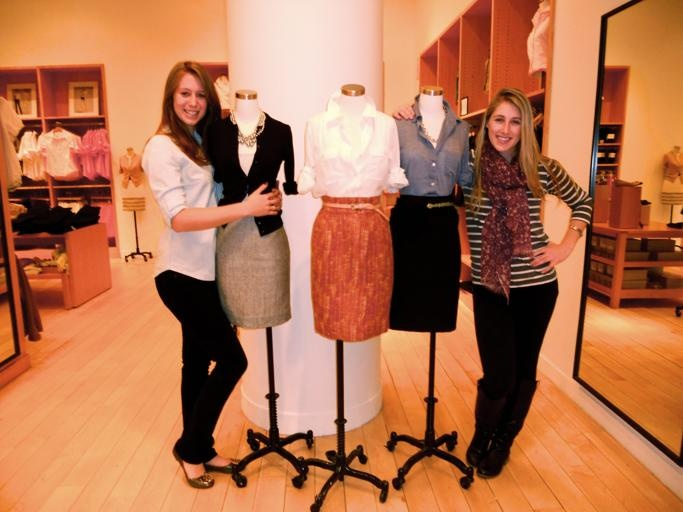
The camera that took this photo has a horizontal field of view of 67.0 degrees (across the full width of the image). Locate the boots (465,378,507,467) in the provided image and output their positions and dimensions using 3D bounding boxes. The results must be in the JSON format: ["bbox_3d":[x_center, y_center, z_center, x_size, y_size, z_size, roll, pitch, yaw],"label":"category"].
[{"bbox_3d":[0.871,1.027,3.184,0.150,0.455,0.358,5,11,36],"label":"boots"}]

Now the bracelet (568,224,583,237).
[{"bbox_3d":[1.395,-0.153,3.054,0.055,0.075,0.030,8,11,4],"label":"bracelet"}]

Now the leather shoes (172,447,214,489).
[{"bbox_3d":[-0.881,1.261,3.073,0.311,0.142,0.108,31,25,27],"label":"leather shoes"}]

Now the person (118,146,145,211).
[{"bbox_3d":[-3.286,-1.215,8.021,0.345,0.921,0.312,-3,20,-20],"label":"person"}]

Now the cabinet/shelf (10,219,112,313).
[{"bbox_3d":[-3.358,0.194,6.197,0.977,0.856,0.993,-1,12,3],"label":"cabinet/shelf"}]

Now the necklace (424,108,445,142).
[{"bbox_3d":[0.527,-0.751,2.912,0.115,0.189,0.042,-1,-2,-3],"label":"necklace"}]

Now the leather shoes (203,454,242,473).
[{"bbox_3d":[-0.734,1.271,3.138,0.186,0.076,0.111,0,2,3],"label":"leather shoes"}]

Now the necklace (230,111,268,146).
[{"bbox_3d":[-0.499,-0.676,2.771,0.140,0.189,0.091,-4,-11,-1],"label":"necklace"}]

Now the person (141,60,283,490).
[{"bbox_3d":[-0.782,0.147,2.964,0.673,2.411,0.491,-6,14,-12],"label":"person"}]

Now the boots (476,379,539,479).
[{"bbox_3d":[0.993,1.058,3.139,0.154,0.351,0.498,28,53,12],"label":"boots"}]

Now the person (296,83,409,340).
[{"bbox_3d":[0.063,-0.230,2.811,0.579,1.347,0.374,-1,14,6],"label":"person"}]
